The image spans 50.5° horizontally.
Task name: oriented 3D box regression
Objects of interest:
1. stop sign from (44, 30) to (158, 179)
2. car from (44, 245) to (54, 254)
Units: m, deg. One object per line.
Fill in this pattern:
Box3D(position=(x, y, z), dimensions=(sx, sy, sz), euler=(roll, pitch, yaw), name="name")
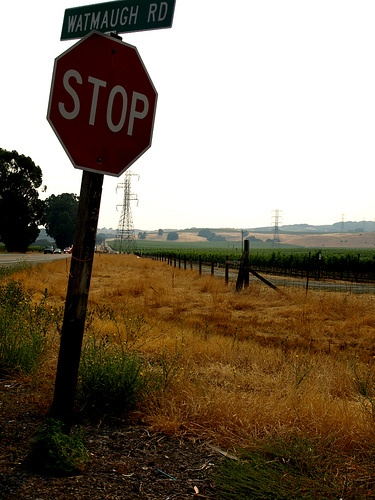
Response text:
Box3D(position=(-0.572, -1.006, 2.779), dimensions=(0.781, 0.870, 0.135), euler=(8, -4, -39), name="stop sign")
Box3D(position=(-23.304, 0.012, 66.433), dimensions=(1.447, 1.413, 2.775), euler=(0, 8, -3), name="car")
